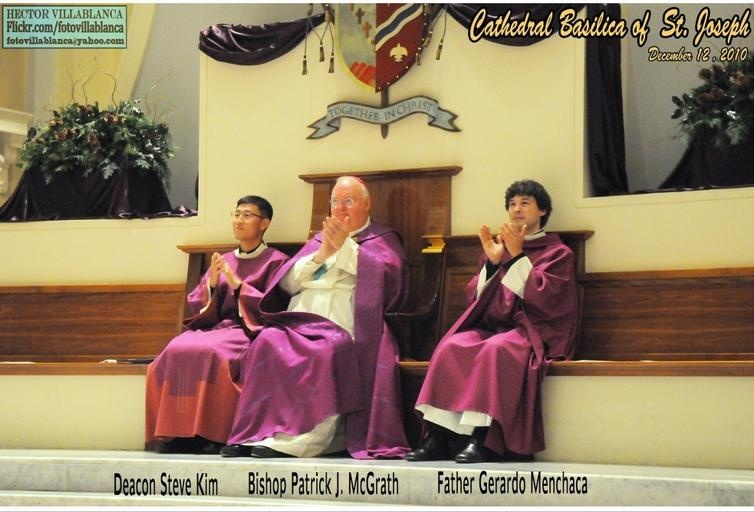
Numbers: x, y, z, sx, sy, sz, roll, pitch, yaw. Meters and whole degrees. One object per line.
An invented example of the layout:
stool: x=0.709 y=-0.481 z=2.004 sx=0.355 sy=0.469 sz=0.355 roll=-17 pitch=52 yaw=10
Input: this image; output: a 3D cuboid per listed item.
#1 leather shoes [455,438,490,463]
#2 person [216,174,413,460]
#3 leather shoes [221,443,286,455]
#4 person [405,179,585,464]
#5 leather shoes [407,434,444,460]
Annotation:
leather shoes: x=0.680 y=1.370 z=5.485 sx=0.167 sy=0.150 sz=0.242 roll=1 pitch=1 yaw=38
person: x=-0.421 y=0.419 z=6.131 sx=1.322 sy=2.155 sz=1.127 roll=0 pitch=1 yaw=-1
leather shoes: x=-0.913 y=1.420 z=5.705 sx=0.449 sy=0.152 sz=0.165 roll=-4 pitch=-12 yaw=17
person: x=0.941 y=0.436 z=5.857 sx=0.851 sy=2.090 sz=1.333 roll=1 pitch=1 yaw=38
leather shoes: x=0.359 y=1.375 z=5.625 sx=0.145 sy=0.181 sz=0.341 roll=1 pitch=1 yaw=44
